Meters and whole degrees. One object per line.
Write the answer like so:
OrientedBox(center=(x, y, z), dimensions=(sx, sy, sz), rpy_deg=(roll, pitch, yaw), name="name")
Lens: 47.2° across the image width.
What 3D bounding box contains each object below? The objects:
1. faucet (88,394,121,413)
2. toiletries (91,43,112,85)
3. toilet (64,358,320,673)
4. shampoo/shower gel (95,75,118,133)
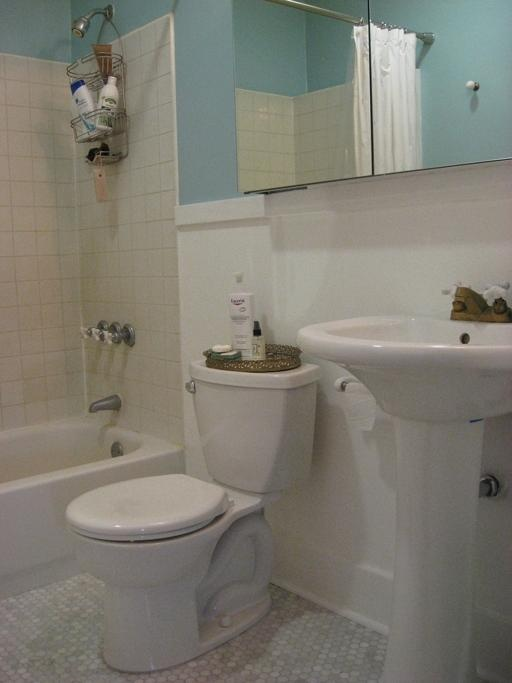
OrientedBox(center=(-0.601, 0.244, 2.325), dimensions=(0.071, 0.063, 0.119), rpy_deg=(9, 11, 41), name="faucet")
OrientedBox(center=(-0.552, -0.998, 2.104), dimensions=(0.068, 0.128, 0.037), rpy_deg=(5, 24, 8), name="toiletries")
OrientedBox(center=(-0.169, 0.423, 1.504), dimensions=(0.355, 0.664, 0.627), rpy_deg=(7, 10, 44), name="toilet")
OrientedBox(center=(-0.534, -0.860, 2.117), dimensions=(0.085, 0.202, 0.140), rpy_deg=(-2, 4, -13), name="shampoo/shower gel")
